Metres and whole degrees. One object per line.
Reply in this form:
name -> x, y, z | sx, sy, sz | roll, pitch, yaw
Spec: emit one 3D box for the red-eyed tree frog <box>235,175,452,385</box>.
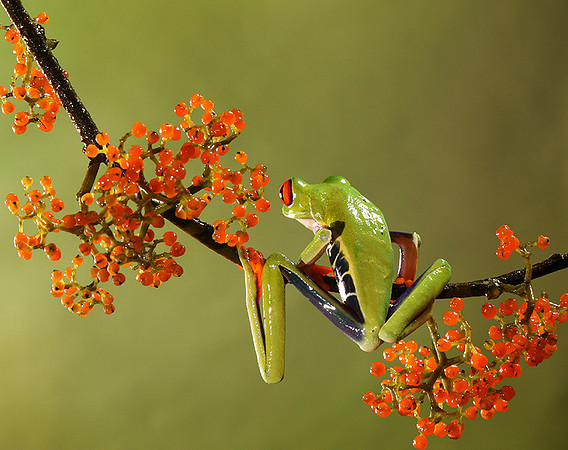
red-eyed tree frog -> 0.109, 0.106, 1.871 | 0.428, 0.519, 0.184 | 4, -46, -22
